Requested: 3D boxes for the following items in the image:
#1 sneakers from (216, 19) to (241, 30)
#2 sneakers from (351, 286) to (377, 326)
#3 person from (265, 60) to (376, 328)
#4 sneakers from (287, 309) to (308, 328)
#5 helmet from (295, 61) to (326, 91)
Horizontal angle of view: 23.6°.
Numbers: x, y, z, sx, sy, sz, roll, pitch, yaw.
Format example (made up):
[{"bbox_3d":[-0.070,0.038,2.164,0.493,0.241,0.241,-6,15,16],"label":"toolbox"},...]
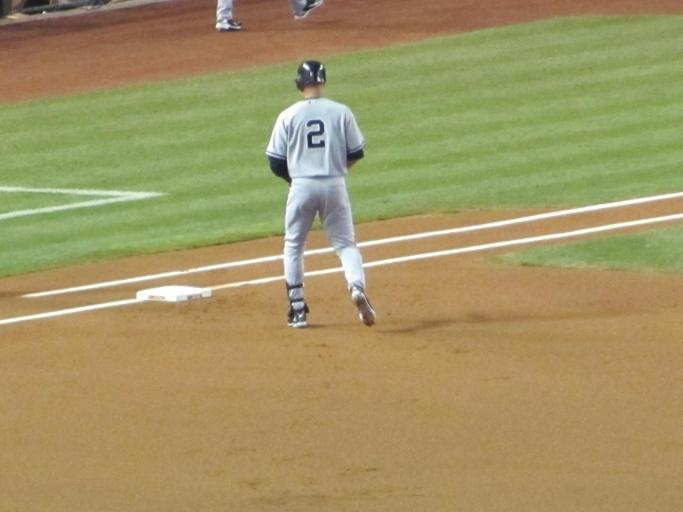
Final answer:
[{"bbox_3d":[-1.598,-3.286,23.008,0.403,0.155,0.119,-4,37,-8],"label":"sneakers"},{"bbox_3d":[0.201,0.427,14.977,0.168,0.412,0.183,-30,14,8],"label":"sneakers"},{"bbox_3d":[-0.184,-0.398,15.014,0.881,2.057,0.691,-5,19,4],"label":"person"},{"bbox_3d":[-0.408,0.558,15.238,0.125,0.134,0.217,-1,8,-14],"label":"sneakers"},{"bbox_3d":[-0.297,-1.703,15.184,0.266,0.222,0.317,-1,7,-7],"label":"helmet"}]
